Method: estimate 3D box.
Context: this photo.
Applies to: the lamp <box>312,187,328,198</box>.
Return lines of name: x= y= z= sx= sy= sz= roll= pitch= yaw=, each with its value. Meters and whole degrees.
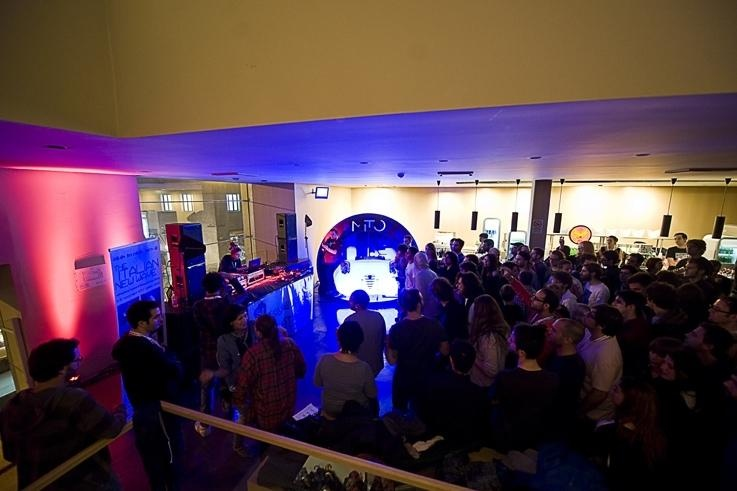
lamp: x=-1.260 y=-1.347 z=11.588 sx=0.253 sy=0.301 sz=0.514 roll=3 pitch=7 yaw=15

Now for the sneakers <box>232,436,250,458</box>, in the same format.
sneakers: x=-1.483 y=2.274 z=5.216 sx=0.165 sy=0.302 sz=0.215 roll=-1 pitch=7 yaw=-17

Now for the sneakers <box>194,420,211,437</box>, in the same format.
sneakers: x=-1.998 y=2.151 z=5.404 sx=0.170 sy=0.171 sz=0.185 roll=-1 pitch=7 yaw=-22

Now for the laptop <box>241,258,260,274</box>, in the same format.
laptop: x=-2.040 y=0.348 z=7.891 sx=0.213 sy=0.222 sz=0.315 roll=11 pitch=13 yaw=38
